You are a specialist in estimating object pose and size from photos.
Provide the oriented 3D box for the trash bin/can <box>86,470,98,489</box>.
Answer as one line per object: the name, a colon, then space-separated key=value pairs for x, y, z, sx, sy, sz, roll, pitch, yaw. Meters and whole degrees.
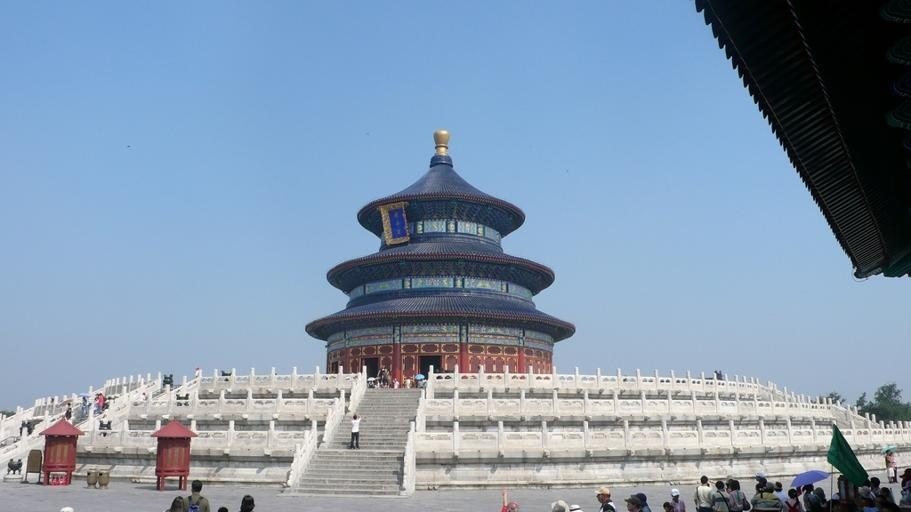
trash bin/can: x=-14.846 y=9.143 z=41.082 sx=0.469 sy=0.704 sz=0.815 roll=9 pitch=-25 yaw=-16

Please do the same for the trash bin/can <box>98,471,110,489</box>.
trash bin/can: x=-14.386 y=9.121 z=40.965 sx=0.391 sy=0.688 sz=0.783 roll=12 pitch=-26 yaw=-22
